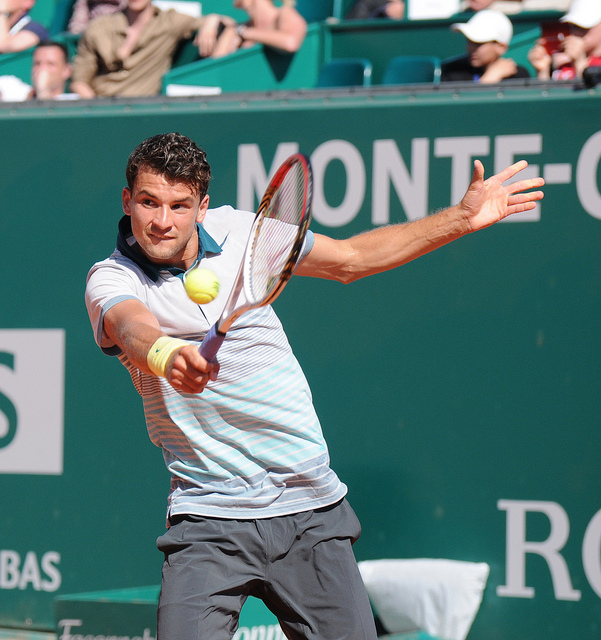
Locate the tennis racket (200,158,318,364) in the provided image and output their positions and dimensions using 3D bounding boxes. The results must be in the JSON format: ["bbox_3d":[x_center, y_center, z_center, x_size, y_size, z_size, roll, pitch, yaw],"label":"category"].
[{"bbox_3d":[-0.127,-0.175,2.904,0.041,0.283,0.717,26,54,15],"label":"tennis racket"}]

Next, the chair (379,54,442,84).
[{"bbox_3d":[0.572,-1.283,4.809,0.283,0.161,0.542,-4,12,-13],"label":"chair"}]

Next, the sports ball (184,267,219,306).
[{"bbox_3d":[-0.300,-0.104,2.909,0.109,0.118,0.101,-6,9,1],"label":"sports ball"}]

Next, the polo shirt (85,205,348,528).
[{"bbox_3d":[-0.255,0.218,3.249,0.650,1.213,0.975,-2,14,-29],"label":"polo shirt"}]

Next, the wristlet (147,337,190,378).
[{"bbox_3d":[-0.364,0.094,2.678,0.111,0.081,0.108,-36,20,10],"label":"wristlet"}]
